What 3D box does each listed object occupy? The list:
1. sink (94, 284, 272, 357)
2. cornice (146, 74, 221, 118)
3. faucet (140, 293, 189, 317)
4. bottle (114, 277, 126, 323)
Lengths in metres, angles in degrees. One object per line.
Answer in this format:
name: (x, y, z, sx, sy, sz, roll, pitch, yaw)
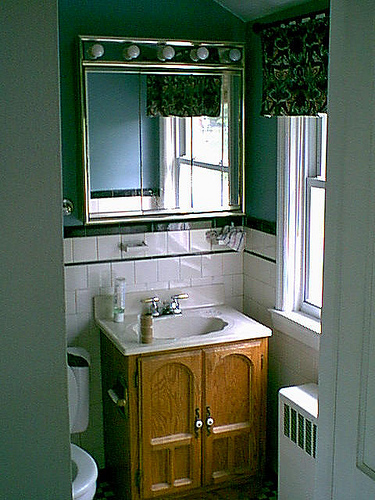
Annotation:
sink: (-0.050, 0.391, 2.786, 0.900, 0.307, 0.565, -6, 11, -19)
cornice: (-0.023, -0.939, 2.898, 0.482, 0.247, 0.028, -7, 11, -20)
faucet: (-0.133, 0.352, 2.934, 0.302, 0.122, 0.226, 0, 14, -3)
bottle: (-0.406, 0.303, 2.805, 0.083, 0.262, 0.054, -3, 11, 3)
